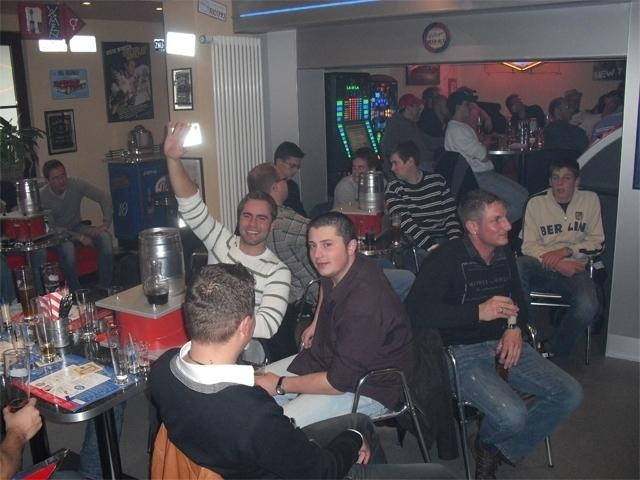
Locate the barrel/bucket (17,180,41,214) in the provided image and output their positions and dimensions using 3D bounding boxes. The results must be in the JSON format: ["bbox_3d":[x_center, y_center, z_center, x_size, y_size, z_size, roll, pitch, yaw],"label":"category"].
[{"bbox_3d":[-2.778,-0.403,5.315,0.181,0.321,0.227,-9,11,-28],"label":"barrel/bucket"}]

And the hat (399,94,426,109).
[{"bbox_3d":[1.476,-2.220,8.963,0.515,0.269,0.375,-7,14,-23],"label":"hat"}]

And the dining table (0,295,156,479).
[{"bbox_3d":[-1.386,0.803,3.170,0.775,0.761,0.782,20,30,30],"label":"dining table"}]

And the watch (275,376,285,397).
[{"bbox_3d":[-0.229,0.823,3.134,0.059,0.083,0.091,-2,2,-3],"label":"watch"}]

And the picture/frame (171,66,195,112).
[{"bbox_3d":[-1.442,-1.592,5.871,0.397,0.560,0.057,10,14,30],"label":"picture/frame"}]

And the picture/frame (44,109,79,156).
[{"bbox_3d":[-3.555,-1.469,7.616,0.043,0.663,0.581,4,13,28],"label":"picture/frame"}]

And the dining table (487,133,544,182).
[{"bbox_3d":[2.571,-1.109,7.423,0.766,0.756,0.773,4,41,23],"label":"dining table"}]

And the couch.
[{"bbox_3d":[-2.890,0.369,6.283,0.388,0.492,0.717,9,15,34],"label":"couch"}]

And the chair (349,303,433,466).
[{"bbox_3d":[0.472,0.892,3.473,0.557,0.802,0.484,-10,15,0],"label":"chair"}]
